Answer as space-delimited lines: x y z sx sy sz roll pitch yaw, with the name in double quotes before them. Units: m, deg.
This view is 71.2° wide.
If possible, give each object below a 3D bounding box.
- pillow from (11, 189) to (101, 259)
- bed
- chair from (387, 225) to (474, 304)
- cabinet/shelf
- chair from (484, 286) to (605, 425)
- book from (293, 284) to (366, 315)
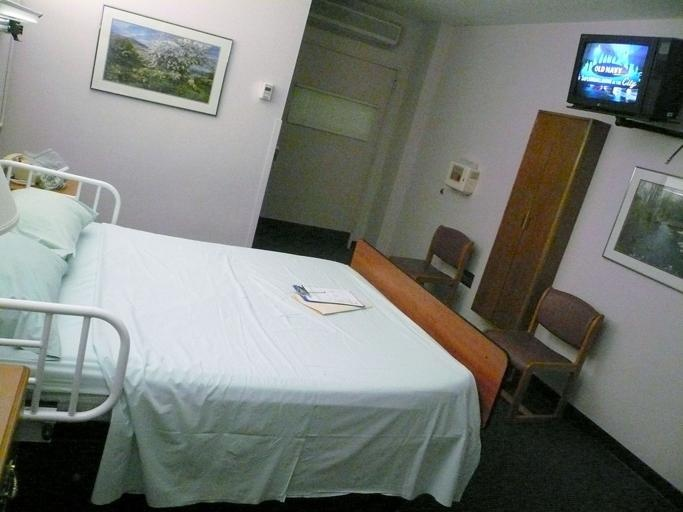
"pillow" -1.619 -0.172 2.698 0.385 0.093 0.384 33 24 -23
"bed" -0.430 0.604 2.577 2.332 0.922 1.407 13 16 -1
"chair" 0.920 0.082 4.612 0.607 0.884 0.511 2 26 -35
"cabinet/shelf" 1.560 -0.300 4.113 0.465 1.966 0.301 20 -2 4
"chair" 1.560 0.759 3.552 0.644 0.991 0.605 8 19 -28
"book" -0.073 0.277 3.007 0.260 0.058 0.251 4 24 -31
